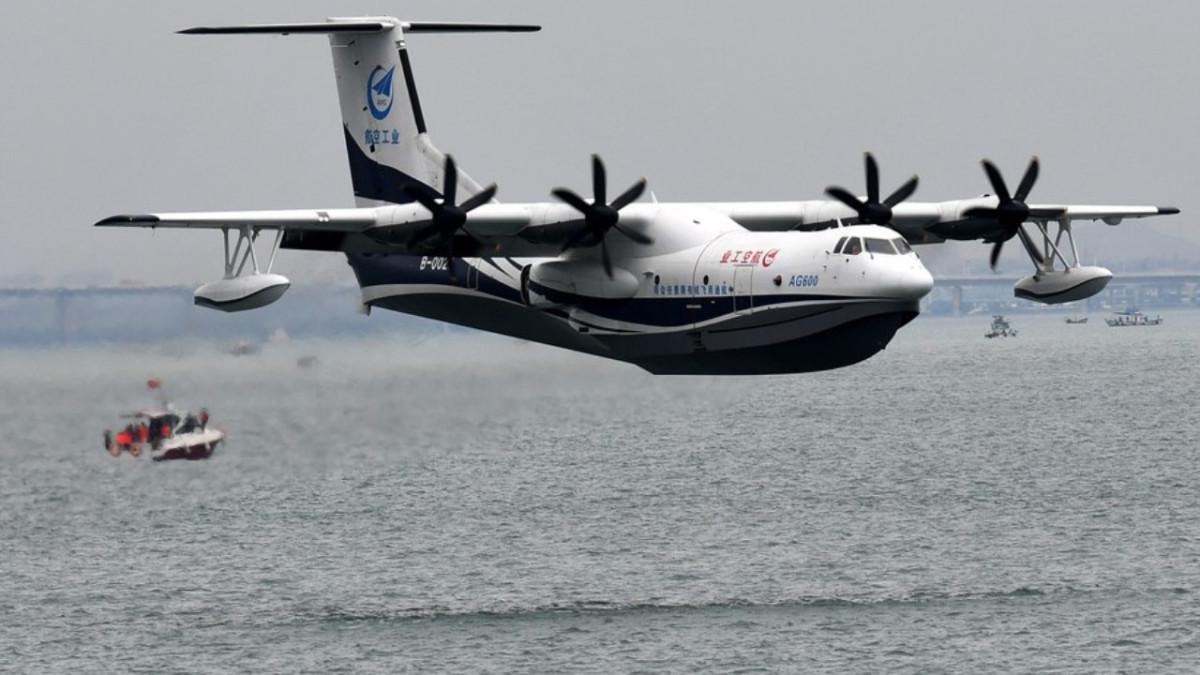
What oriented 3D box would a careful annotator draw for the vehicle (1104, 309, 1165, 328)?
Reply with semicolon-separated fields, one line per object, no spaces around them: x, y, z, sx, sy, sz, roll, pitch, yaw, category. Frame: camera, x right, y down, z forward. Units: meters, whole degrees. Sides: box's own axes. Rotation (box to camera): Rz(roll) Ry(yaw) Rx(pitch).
49.341;-1.637;216.506;6.961;1.366;1.714;2;-4;-24;vehicle
